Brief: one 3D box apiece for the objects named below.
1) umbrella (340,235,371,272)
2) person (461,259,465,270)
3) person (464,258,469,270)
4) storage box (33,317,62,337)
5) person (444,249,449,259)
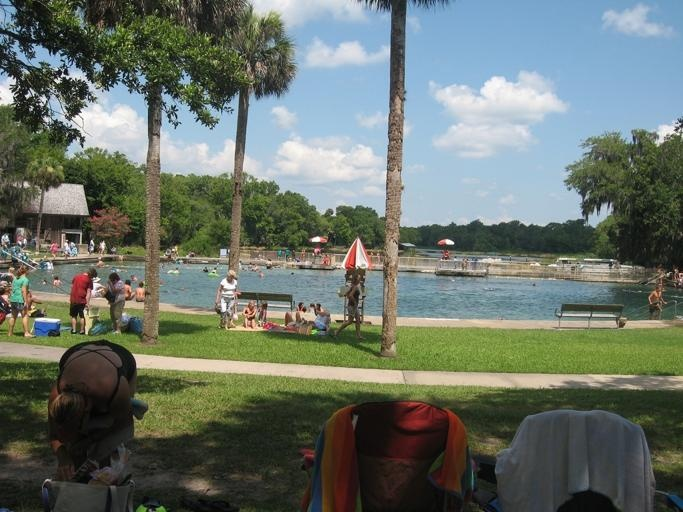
[{"bbox_3d":[0.547,-0.070,26.845,1.044,1.199,1.022,2,-4,-3],"label":"umbrella"},{"bbox_3d":[11.817,0.824,74.127,0.316,0.992,0.780,2,-4,7],"label":"person"},{"bbox_3d":[12.090,0.748,74.243,0.452,1.019,0.848,2,-4,8],"label":"person"},{"bbox_3d":[-8.288,2.012,21.809,0.769,0.568,0.457,1,6,-6],"label":"storage box"},{"bbox_3d":[10.893,-0.064,78.489,0.640,0.869,1.478,-1,0,4],"label":"person"}]
